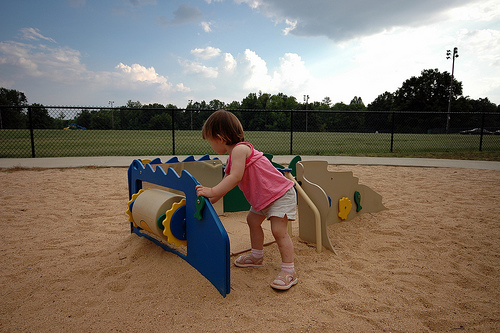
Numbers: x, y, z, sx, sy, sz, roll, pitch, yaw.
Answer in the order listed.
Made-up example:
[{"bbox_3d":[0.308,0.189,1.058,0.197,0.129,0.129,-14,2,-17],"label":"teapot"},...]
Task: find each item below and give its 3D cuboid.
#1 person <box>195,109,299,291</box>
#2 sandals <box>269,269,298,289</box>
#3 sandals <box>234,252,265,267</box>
[{"bbox_3d":[0.016,0.370,4.345,1.105,2.069,0.514,0,7,4],"label":"person"},{"bbox_3d":[0.405,1.315,4.276,0.155,0.154,0.336,-7,-10,38],"label":"sandals"},{"bbox_3d":[-0.019,1.179,4.632,0.304,0.155,0.172,5,-4,-2],"label":"sandals"}]
